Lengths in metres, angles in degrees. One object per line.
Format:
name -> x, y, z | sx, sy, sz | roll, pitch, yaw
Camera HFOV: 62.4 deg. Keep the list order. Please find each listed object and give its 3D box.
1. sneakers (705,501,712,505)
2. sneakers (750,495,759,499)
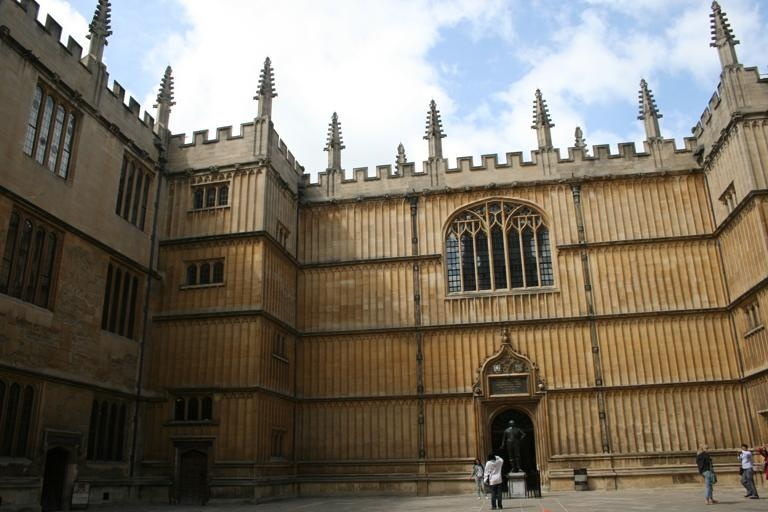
sneakers -> 12.167, 9.156, 23.653 | 0.211, 0.166, 0.530 | -14, -29, 24
sneakers -> 14.659, 9.454, 24.974 | 0.286, 0.133, 0.355 | -16, -29, 26
